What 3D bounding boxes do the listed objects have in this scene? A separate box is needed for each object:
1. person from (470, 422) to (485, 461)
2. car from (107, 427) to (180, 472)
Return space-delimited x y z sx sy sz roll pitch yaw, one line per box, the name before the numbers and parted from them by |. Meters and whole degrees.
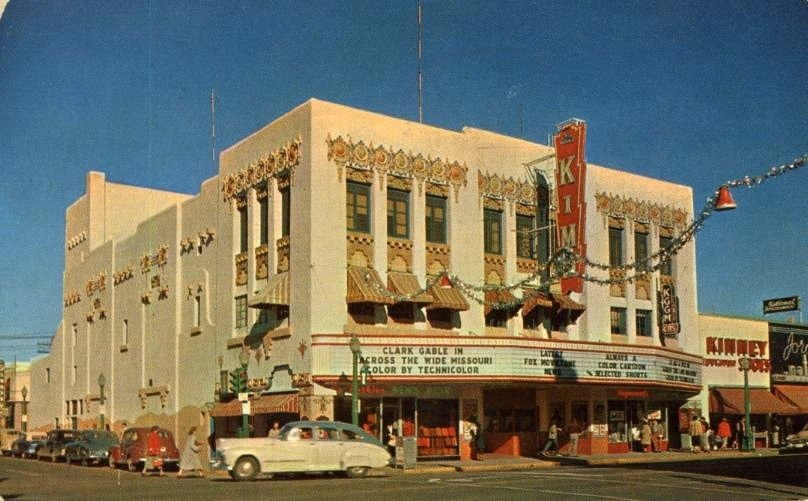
person | 4.554 12.028 79.442 0.736 1.573 1.756 -5 -3 -2
car | -15.741 12.050 76.502 2.547 1.950 4.344 8 -10 -42
